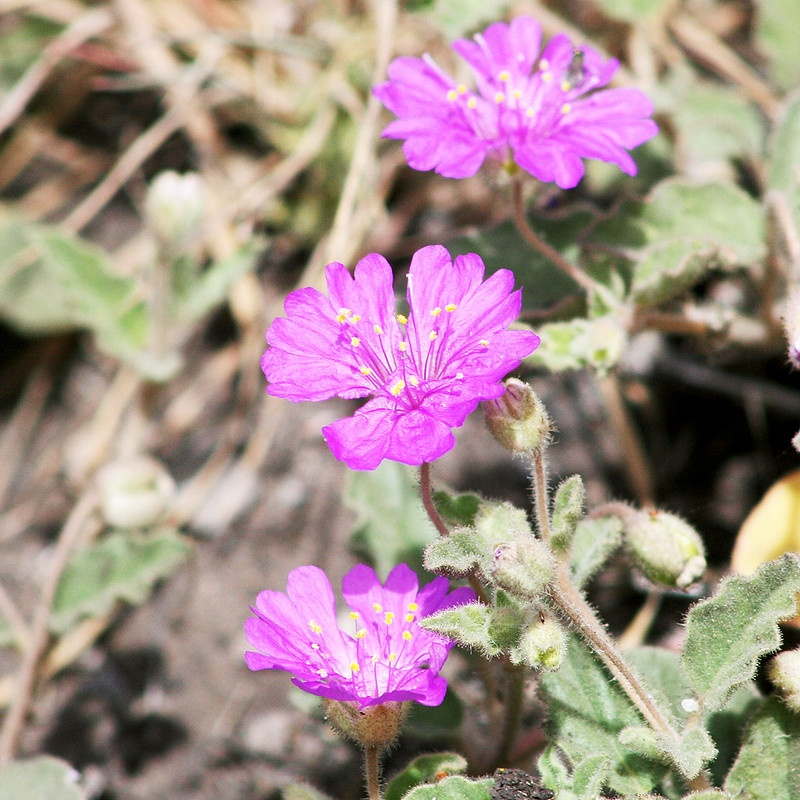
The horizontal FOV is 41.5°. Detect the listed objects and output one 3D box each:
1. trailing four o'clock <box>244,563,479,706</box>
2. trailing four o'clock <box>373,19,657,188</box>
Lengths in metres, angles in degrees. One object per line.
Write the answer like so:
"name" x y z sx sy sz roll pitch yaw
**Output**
"trailing four o'clock" -0.076 0.544 2.223 0.462 0.442 0.183 0 93 -35
"trailing four o'clock" 0.310 -0.687 2.608 0.557 0.585 0.189 -11 60 32
